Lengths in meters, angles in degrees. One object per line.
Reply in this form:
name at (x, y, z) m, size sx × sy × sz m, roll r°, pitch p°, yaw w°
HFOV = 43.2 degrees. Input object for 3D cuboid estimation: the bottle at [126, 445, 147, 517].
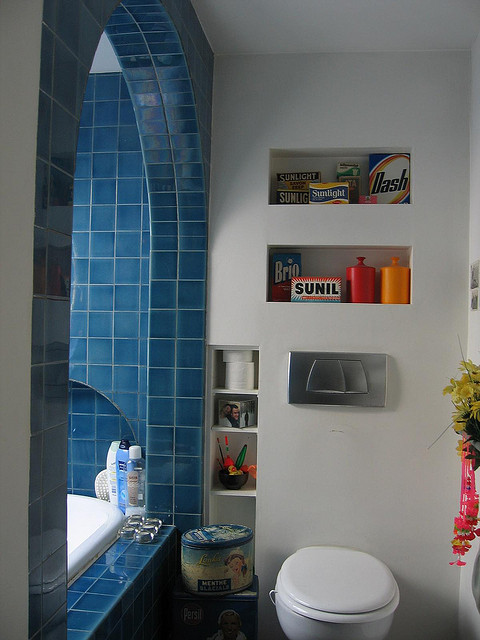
bottle at (-0.394, 0.611, 2.304) m, size 0.072 × 0.261 × 0.073 m, roll 0°, pitch -3°, yaw 0°

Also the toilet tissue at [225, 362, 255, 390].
toilet tissue at (0.005, 0.218, 2.373) m, size 0.121 × 0.104 × 0.132 m, roll 1°, pitch -4°, yaw -6°
